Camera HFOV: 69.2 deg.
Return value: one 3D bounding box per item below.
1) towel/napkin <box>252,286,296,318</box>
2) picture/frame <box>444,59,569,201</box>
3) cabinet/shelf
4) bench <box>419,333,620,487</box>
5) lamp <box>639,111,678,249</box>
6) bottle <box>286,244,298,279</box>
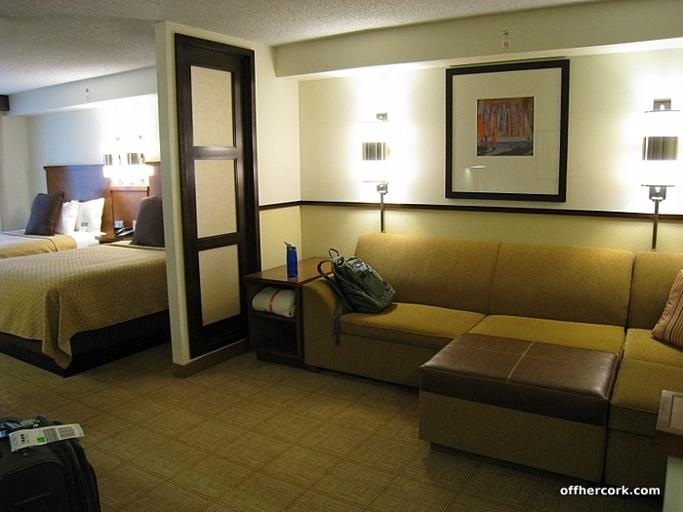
[{"bbox_3d":[-0.522,0.370,3.967,0.393,0.184,0.161,6,15,30],"label":"towel/napkin"},{"bbox_3d":[1.335,-1.014,3.888,1.126,1.240,0.057,2,5,26],"label":"picture/frame"},{"bbox_3d":[-0.523,0.463,4.102,0.511,0.745,0.884,4,12,24],"label":"cabinet/shelf"},{"bbox_3d":[1.236,0.594,3.281,1.061,0.728,1.476,7,33,28],"label":"bench"},{"bbox_3d":[2.201,-0.515,3.446,0.242,0.971,0.254,6,15,29],"label":"lamp"},{"bbox_3d":[-0.396,0.036,3.956,0.085,0.238,0.225,-3,13,-7],"label":"bottle"}]
